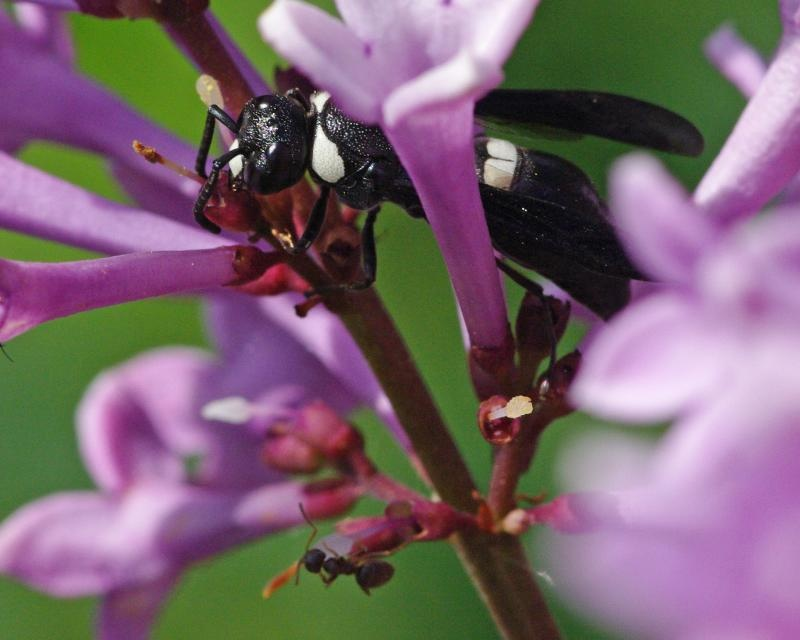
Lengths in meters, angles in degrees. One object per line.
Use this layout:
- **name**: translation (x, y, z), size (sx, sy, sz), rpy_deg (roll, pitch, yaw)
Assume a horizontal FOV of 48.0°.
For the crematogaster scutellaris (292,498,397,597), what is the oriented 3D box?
- **crematogaster scutellaris**: translation (-0.070, 0.282, 1.106), size (0.104, 0.073, 0.060), rpy_deg (27, 5, -17)
